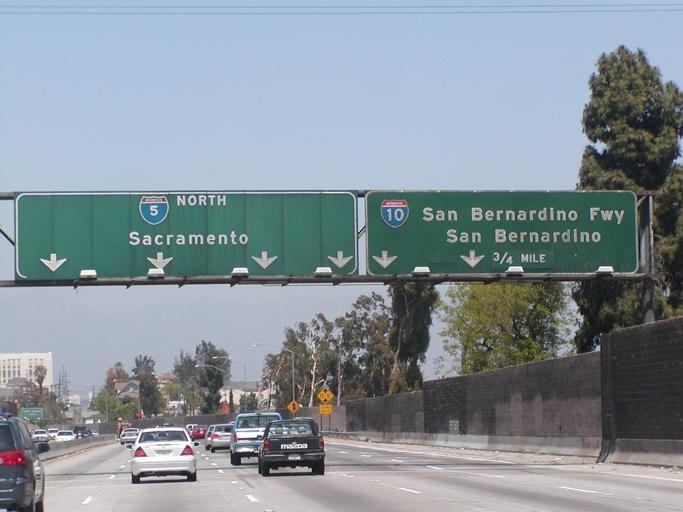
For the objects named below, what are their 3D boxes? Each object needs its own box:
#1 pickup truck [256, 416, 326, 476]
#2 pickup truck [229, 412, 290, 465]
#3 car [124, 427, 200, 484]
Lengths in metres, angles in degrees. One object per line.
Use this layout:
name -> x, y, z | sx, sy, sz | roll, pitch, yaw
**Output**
pickup truck -> -2.082, 8.389, 69.106 | 2.316, 2.796, 3.866 | 2, -11, -8
pickup truck -> -4.079, 8.668, 75.742 | 2.163, 3.120, 2.834 | 1, -8, -12
car -> -7.819, 8.719, 67.230 | 2.760, 2.009, 1.159 | -4, -2, -2
